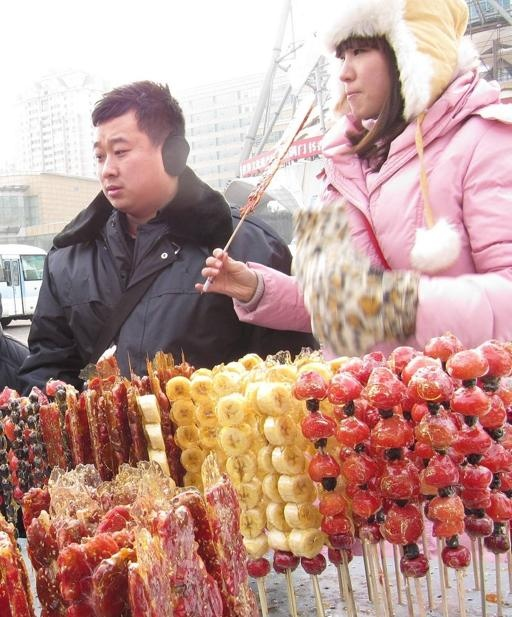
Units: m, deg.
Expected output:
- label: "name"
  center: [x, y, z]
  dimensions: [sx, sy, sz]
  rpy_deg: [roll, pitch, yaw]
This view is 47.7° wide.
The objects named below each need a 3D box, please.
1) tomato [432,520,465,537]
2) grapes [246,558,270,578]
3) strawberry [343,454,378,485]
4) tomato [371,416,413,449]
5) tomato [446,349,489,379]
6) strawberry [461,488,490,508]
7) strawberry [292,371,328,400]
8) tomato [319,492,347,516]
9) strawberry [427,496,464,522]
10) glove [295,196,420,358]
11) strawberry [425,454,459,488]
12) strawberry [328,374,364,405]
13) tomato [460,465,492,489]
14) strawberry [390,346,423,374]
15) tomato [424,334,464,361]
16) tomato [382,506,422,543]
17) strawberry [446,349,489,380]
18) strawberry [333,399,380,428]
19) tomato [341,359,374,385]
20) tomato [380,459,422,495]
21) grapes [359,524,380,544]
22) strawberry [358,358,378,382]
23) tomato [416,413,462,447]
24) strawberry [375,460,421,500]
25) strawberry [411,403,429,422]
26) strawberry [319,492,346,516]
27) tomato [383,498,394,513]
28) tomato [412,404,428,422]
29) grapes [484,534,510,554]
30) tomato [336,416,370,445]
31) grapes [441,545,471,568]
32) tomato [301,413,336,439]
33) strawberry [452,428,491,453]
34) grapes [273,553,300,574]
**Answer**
- label: "tomato"
  center: [0.311, 0.355, 0.936]
  dimensions: [0.039, 0.027, 0.039]
  rpy_deg: [3, -4, -12]
- label: "grapes"
  center: [0.004, 0.498, 1.115]
  dimensions: [0.041, 0.040, 0.038]
  rpy_deg: [-2, 3, -3]
- label: "strawberry"
  center: [0.175, 0.273, 1.009]
  dimensions: [0.051, 0.056, 0.054]
  rpy_deg: [-13, 26, 3]
- label: "tomato"
  center: [0.222, 0.202, 0.943]
  dimensions: [0.057, 0.049, 0.057]
  rpy_deg: [4, -16, -11]
- label: "tomato"
  center: [0.342, 0.093, 0.939]
  dimensions: [0.065, 0.051, 0.099]
  rpy_deg: [-8, -3, 11]
- label: "strawberry"
  center: [0.365, 0.316, 0.965]
  dimensions: [0.036, 0.033, 0.036]
  rpy_deg: [5, -27, -1]
- label: "strawberry"
  center: [0.099, 0.136, 1.023]
  dimensions: [0.052, 0.051, 0.029]
  rpy_deg: [-7, -24, 4]
- label: "tomato"
  center: [0.135, 0.348, 1.040]
  dimensions: [0.041, 0.039, 0.041]
  rpy_deg: [-4, -18, -12]
- label: "strawberry"
  center: [0.307, 0.322, 0.934]
  dimensions: [0.049, 0.037, 0.036]
  rpy_deg: [-7, 3, -31]
- label: "glove"
  center: [0.175, -0.068, 1.063]
  dimensions: [0.102, 0.262, 0.266]
  rpy_deg: [-13, -46, 12]
- label: "strawberry"
  center: [0.298, 0.263, 0.933]
  dimensions: [0.049, 0.055, 0.028]
  rpy_deg: [-2, -1, 8]
- label: "strawberry"
  center: [0.149, 0.136, 0.976]
  dimensions: [0.053, 0.049, 0.028]
  rpy_deg: [0, -10, 35]
- label: "tomato"
  center: [0.372, 0.270, 0.979]
  dimensions: [0.042, 0.042, 0.042]
  rpy_deg: [-2, 20, 28]
- label: "strawberry"
  center: [0.268, 0.087, 1.025]
  dimensions: [0.049, 0.049, 0.044]
  rpy_deg: [-7, 1, 21]
- label: "tomato"
  center: [0.317, 0.063, 0.984]
  dimensions: [0.043, 0.031, 0.052]
  rpy_deg: [-7, -1, 12]
- label: "tomato"
  center: [0.240, 0.354, 0.951]
  dimensions: [0.054, 0.066, 0.037]
  rpy_deg: [0, -1, -23]
- label: "strawberry"
  center: [0.329, 0.088, 0.900]
  dimensions: [0.051, 0.026, 0.049]
  rpy_deg: [-19, 37, 9]
- label: "strawberry"
  center: [0.182, 0.182, 1.029]
  dimensions: [0.057, 0.039, 0.067]
  rpy_deg: [-4, 7, -34]
- label: "tomato"
  center: [0.187, 0.109, 1.048]
  dimensions: [0.043, 0.028, 0.050]
  rpy_deg: [-3, 17, 8]
- label: "tomato"
  center: [0.236, 0.274, 0.949]
  dimensions: [0.053, 0.053, 0.054]
  rpy_deg: [0, -12, 0]
- label: "grapes"
  center: [0.202, 0.399, 1.030]
  dimensions: [0.035, 0.033, 0.033]
  rpy_deg: [-1, 0, 4]
- label: "strawberry"
  center: [0.210, 0.108, 1.057]
  dimensions: [0.016, 0.043, 0.031]
  rpy_deg: [25, -4, -27]
- label: "tomato"
  center: [0.288, 0.192, 0.917]
  dimensions: [0.056, 0.051, 0.055]
  rpy_deg: [-1, -16, -3]
- label: "strawberry"
  center: [0.231, 0.279, 0.949]
  dimensions: [0.061, 0.060, 0.061]
  rpy_deg: [2, -8, -1]
- label: "strawberry"
  center: [0.272, 0.172, 0.970]
  dimensions: [0.029, 0.034, 0.029]
  rpy_deg: [0, 4, -3]
- label: "strawberry"
  center: [0.137, 0.349, 1.036]
  dimensions: [0.047, 0.045, 0.046]
  rpy_deg: [-10, -23, -11]
- label: "tomato"
  center: [0.234, 0.352, 1.047]
  dimensions: [0.014, 0.025, 0.025]
  rpy_deg: [-4, -13, -30]
- label: "tomato"
  center: [0.272, 0.172, 0.969]
  dimensions: [0.027, 0.032, 0.027]
  rpy_deg: [-1, 4, -4]
- label: "grapes"
  center: [0.424, 0.415, 1.021]
  dimensions: [0.043, 0.038, 0.037]
  rpy_deg: [-8, -2, 21]
- label: "tomato"
  center: [0.162, 0.209, 0.991]
  dimensions: [0.051, 0.050, 0.050]
  rpy_deg: [-4, -22, -4]
- label: "grapes"
  center: [0.341, 0.422, 0.988]
  dimensions: [0.046, 0.041, 0.047]
  rpy_deg: [-8, -2, 14]
- label: "tomato"
  center: [0.116, 0.213, 1.065]
  dimensions: [0.050, 0.045, 0.047]
  rpy_deg: [-21, -26, 4]
- label: "strawberry"
  center: [0.350, 0.217, 0.940]
  dimensions: [0.048, 0.047, 0.048]
  rpy_deg: [-3, -4, -4]
- label: "grapes"
  center: [0.055, 0.472, 1.113]
  dimensions: [0.050, 0.049, 0.046]
  rpy_deg: [-2, 3, -9]
